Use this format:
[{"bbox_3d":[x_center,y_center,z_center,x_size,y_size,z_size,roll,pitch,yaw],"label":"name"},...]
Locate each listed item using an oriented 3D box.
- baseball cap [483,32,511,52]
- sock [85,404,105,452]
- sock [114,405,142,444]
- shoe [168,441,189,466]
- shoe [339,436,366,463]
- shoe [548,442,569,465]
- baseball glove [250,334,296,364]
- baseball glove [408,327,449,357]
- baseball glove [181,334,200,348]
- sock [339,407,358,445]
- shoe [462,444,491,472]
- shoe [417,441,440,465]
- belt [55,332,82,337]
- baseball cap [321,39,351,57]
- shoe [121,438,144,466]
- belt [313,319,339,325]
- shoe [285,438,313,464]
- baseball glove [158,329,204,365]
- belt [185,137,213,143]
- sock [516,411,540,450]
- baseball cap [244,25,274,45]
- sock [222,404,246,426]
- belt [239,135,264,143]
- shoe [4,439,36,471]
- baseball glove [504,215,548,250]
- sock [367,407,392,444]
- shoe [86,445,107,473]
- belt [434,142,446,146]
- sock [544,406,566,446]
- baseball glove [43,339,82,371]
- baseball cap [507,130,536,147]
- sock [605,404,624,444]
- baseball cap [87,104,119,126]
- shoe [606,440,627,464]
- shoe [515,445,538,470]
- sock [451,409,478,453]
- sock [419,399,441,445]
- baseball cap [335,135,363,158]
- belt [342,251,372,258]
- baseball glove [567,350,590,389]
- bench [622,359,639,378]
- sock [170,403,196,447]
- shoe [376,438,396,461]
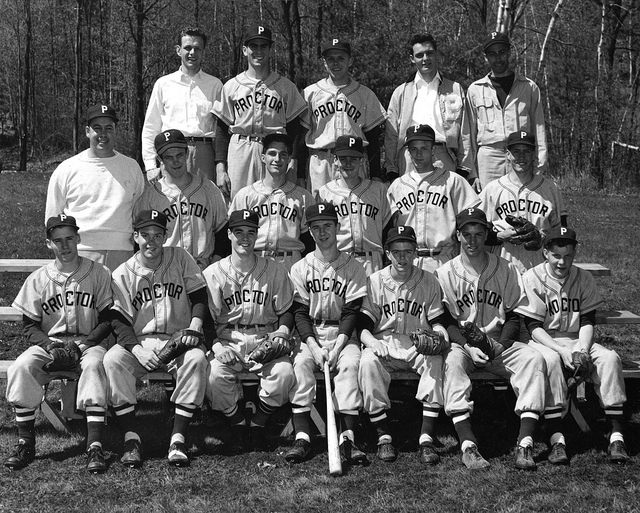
[{"bbox_3d":[2.339,-2.832,9.982,0.341,0.254,0.353,2,14,11],"label":"baseball cap"},{"bbox_3d":[-2.318,1.748,7.805,0.199,0.477,0.353,-5,14,-18],"label":"sock"},{"bbox_3d":[-2.010,1.739,7.871,0.200,0.364,0.244,-6,14,-22],"label":"sock"},{"bbox_3d":[-1.450,2.005,7.733,0.200,0.202,0.195,-4,14,-14],"label":"shoe"},{"bbox_3d":[0.323,2.003,7.820,0.176,0.166,0.335,-10,16,-33],"label":"shoe"},{"bbox_3d":[2.457,2.006,7.751,0.204,0.166,0.287,4,14,18],"label":"shoe"},{"bbox_3d":[-0.492,0.973,8.115,0.394,0.165,0.271,-27,67,-43],"label":"baseball glove"},{"bbox_3d":[1.198,0.930,8.229,0.376,0.279,0.482,-1,14,-2],"label":"baseball glove"},{"bbox_3d":[-1.386,0.900,8.047,0.132,0.136,0.052,-1,3,-34],"label":"baseball glove"},{"bbox_3d":[0.266,1.819,8.033,0.303,0.408,0.203,4,-15,1],"label":"sock"},{"bbox_3d":[1.587,2.028,7.624,0.267,0.178,0.253,-2,14,-5],"label":"shoe"},{"bbox_3d":[1.139,2.011,7.795,0.199,0.153,0.269,1,14,6],"label":"shoe"},{"bbox_3d":[-2.784,0.857,8.352,0.289,0.059,0.021,-1,13,-3],"label":"belt"},{"bbox_3d":[0.235,-2.690,9.732,0.393,0.204,0.261,-3,14,-10],"label":"baseball cap"},{"bbox_3d":[-1.934,1.993,7.772,0.229,0.207,0.341,-4,14,-16],"label":"shoe"},{"bbox_3d":[0.068,0.747,8.613,0.302,0.056,0.038,3,14,12],"label":"belt"},{"bbox_3d":[-0.190,1.998,7.879,0.177,0.190,0.389,10,17,37],"label":"shoe"},{"bbox_3d":[-1.487,0.963,8.076,0.451,0.210,0.267,-31,-21,-5],"label":"baseball glove"},{"bbox_3d":[-1.587,-1.543,9.954,0.340,0.068,0.071,-2,14,-7],"label":"belt"},{"bbox_3d":[2.165,1.830,7.837,0.182,0.443,0.406,5,14,22],"label":"sock"},{"bbox_3d":[-0.781,-2.790,9.516,0.344,0.214,0.386,-2,14,-6],"label":"baseball cap"},{"bbox_3d":[-0.960,1.755,8.344,0.187,0.272,0.180,-26,20,5],"label":"sock"},{"bbox_3d":[-0.885,-1.506,9.684,0.327,0.090,0.037,4,14,17],"label":"belt"},{"bbox_3d":[-3.050,2.012,7.701,0.200,0.196,0.312,3,14,13],"label":"shoe"},{"bbox_3d":[2.429,-0.277,8.832,0.454,0.356,0.139,12,-39,-31],"label":"baseball glove"},{"bbox_3d":[0.636,1.791,7.980,0.233,0.410,0.230,-1,13,-3],"label":"sock"},{"bbox_3d":[-2.250,2.029,7.601,0.188,0.195,0.245,-5,14,-18],"label":"shoe"},{"bbox_3d":[1.580,-1.480,9.912,0.095,0.031,0.132,1,1,1],"label":"belt"},{"bbox_3d":[2.470,1.792,7.957,0.209,0.477,0.375,4,14,17],"label":"sock"},{"bbox_3d":[-2.689,1.066,7.879,0.276,0.196,0.373,10,16,16],"label":"baseball glove"},{"bbox_3d":[2.453,-1.423,9.171,0.313,0.168,0.277,3,14,14],"label":"baseball cap"},{"bbox_3d":[3.102,1.728,7.911,0.187,0.353,0.280,2,14,9],"label":"sock"},{"bbox_3d":[-2.582,-1.680,8.965,0.354,0.226,0.292,-5,14,-19],"label":"baseball cap"},{"bbox_3d":[3.061,1.995,7.747,0.162,0.150,0.223,2,14,11],"label":"shoe"},{"bbox_3d":[2.090,2.022,7.642,0.226,0.178,0.220,1,14,7],"label":"shoe"},{"bbox_3d":[1.499,1.831,7.865,0.231,0.481,0.350,-2,13,-4],"label":"sock"},{"bbox_3d":[1.171,1.756,8.013,0.215,0.491,0.402,2,14,9],"label":"sock"},{"bbox_3d":[0.357,-1.328,9.197,0.341,0.247,0.263,0,14,0],"label":"baseball cap"},{"bbox_3d":[0.500,-0.028,9.241,0.285,0.059,0.048,-2,14,-9],"label":"belt"},{"bbox_3d":[2.756,1.224,8.047,0.147,0.484,0.191,-6,45,-4],"label":"baseball glove"},{"bbox_3d":[3.753,1.356,9.100,0.189,0.046,0.183,-4,24,9],"label":"bench"},{"bbox_3d":[-1.431,1.771,7.874,0.230,0.449,0.326,1,13,7],"label":"sock"},{"bbox_3d":[0.688,1.999,7.860,0.182,0.170,0.259,-2,14,-5],"label":"shoe"}]
